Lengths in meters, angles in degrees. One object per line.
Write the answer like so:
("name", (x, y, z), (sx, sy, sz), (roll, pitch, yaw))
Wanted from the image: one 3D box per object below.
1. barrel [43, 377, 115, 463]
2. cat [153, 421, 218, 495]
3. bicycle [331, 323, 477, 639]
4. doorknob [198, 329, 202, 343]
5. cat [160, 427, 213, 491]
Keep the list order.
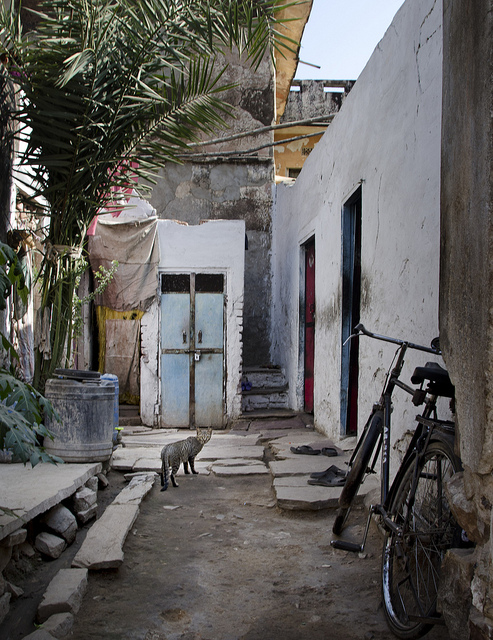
("barrel", (-1.164, 0.693, 4.656), (0.358, 0.709, 0.490), (0, -7, 4))
("cat", (-0.474, 1.095, 5.235), (0.110, 0.449, 0.517), (11, 12, 39))
("bicycle", (0.692, 0.731, 2.982), (0.384, 1.120, 1.286), (4, 4, -3))
("doorknob", (-0.555, 0.204, 7.873), (0.040, 0.145, 0.035), (0, 2, -16))
("cat", (-0.427, 1.082, 5.130), (0.135, 0.557, 0.709), (2, 9, 24))
